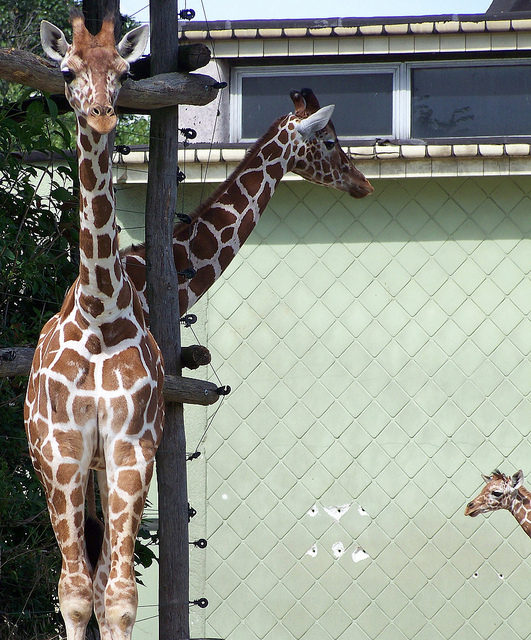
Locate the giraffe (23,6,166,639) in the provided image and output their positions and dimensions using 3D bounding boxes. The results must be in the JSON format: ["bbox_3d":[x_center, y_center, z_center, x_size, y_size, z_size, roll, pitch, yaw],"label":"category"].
[{"bbox_3d":[-0.837,0.027,8.561,0.668,3.000,0.696,-1,11,-5],"label":"giraffe"}]
